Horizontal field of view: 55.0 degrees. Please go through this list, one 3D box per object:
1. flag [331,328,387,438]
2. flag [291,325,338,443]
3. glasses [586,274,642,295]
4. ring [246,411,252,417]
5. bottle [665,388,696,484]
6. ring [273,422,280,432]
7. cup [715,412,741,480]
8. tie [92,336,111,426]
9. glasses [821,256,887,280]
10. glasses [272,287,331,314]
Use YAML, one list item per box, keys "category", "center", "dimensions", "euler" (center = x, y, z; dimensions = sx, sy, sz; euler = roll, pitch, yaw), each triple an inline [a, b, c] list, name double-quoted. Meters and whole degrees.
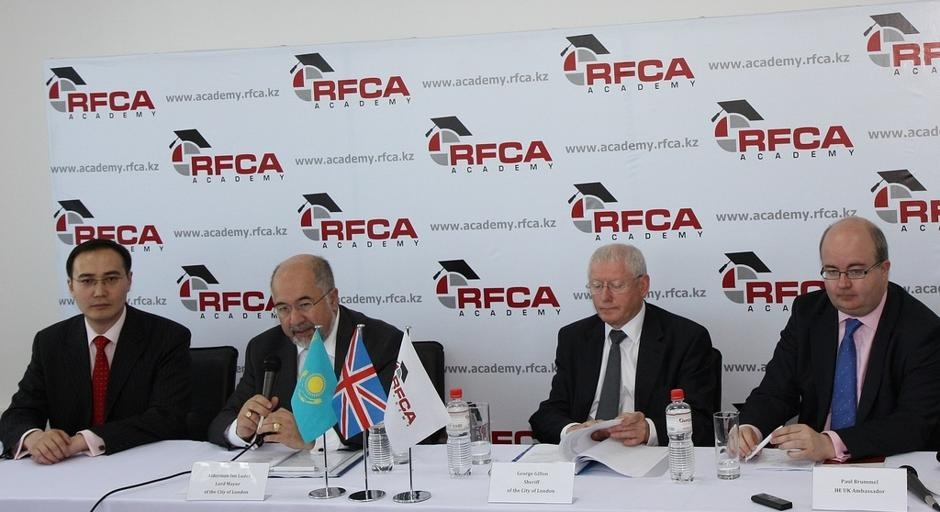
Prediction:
- category: "flag"
  center: [-0.656, 0.745, 5.436]
  dimensions: [0.328, 0.673, 0.226]
  euler: [-1, 0, 1]
- category: "flag"
  center: [-0.932, 0.771, 5.458]
  dimensions: [0.264, 0.679, 0.111]
  euler: [-1, 0, -11]
- category: "glasses"
  center: [0.986, 0.194, 6.198]
  dimensions: [0.345, 0.106, 0.097]
  euler: [-1, -1, 8]
- category: "ring"
  center: [-1.388, 0.986, 5.684]
  dimensions: [0.041, 0.023, 0.018]
  euler: [-2, -1, 16]
- category: "bottle"
  center: [1.241, 1.042, 5.321]
  dimensions: [0.152, 0.538, 0.193]
  euler: [-1, 0, 13]
- category: "ring"
  center: [-1.219, 1.071, 5.694]
  dimensions: [0.042, 0.055, 0.017]
  euler: [4, -16, 5]
- category: "cup"
  center: [1.551, 1.102, 5.349]
  dimensions: [0.254, 0.395, 0.130]
  euler: [-1, 0, -41]
- category: "tie"
  center: [-2.537, 0.844, 6.247]
  dimensions: [0.121, 0.608, 0.134]
  euler: [-1, 0, -20]
- category: "glasses"
  center: [2.502, 0.085, 5.889]
  dimensions: [0.401, 0.130, 0.156]
  euler: [-2, -1, 18]
- category: "glasses"
  center: [-1.115, 0.308, 6.111]
  dimensions: [0.386, 0.176, 0.113]
  euler: [-1, 0, -6]
